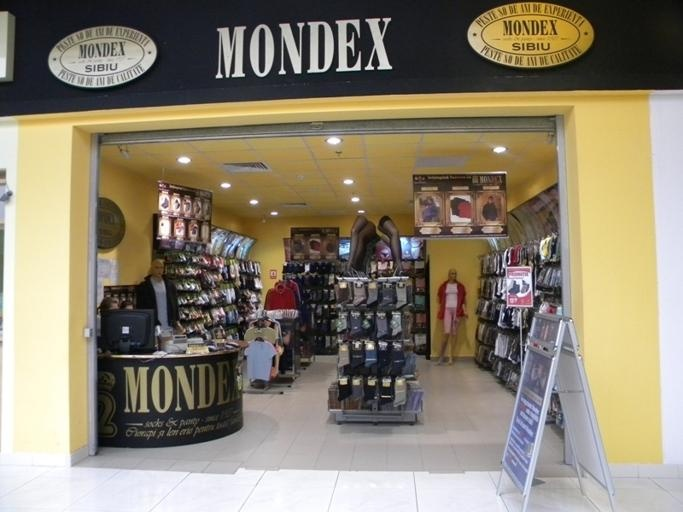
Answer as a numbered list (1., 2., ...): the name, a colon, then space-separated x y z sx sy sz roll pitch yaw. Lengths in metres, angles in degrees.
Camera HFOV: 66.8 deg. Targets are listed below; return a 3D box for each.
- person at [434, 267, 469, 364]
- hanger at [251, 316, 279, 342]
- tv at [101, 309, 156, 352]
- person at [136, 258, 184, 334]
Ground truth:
1. person: 2.415 1.303 11.366 0.602 2.013 1.133 -1 -3 12
2. hanger: -1.237 1.186 8.731 0.315 0.450 0.229 -2 -26 -14
3. tv: -2.565 0.900 6.229 0.465 0.407 0.184 1 5 -3
4. person: -2.770 0.597 7.824 0.272 1.041 0.677 -2 -3 31
